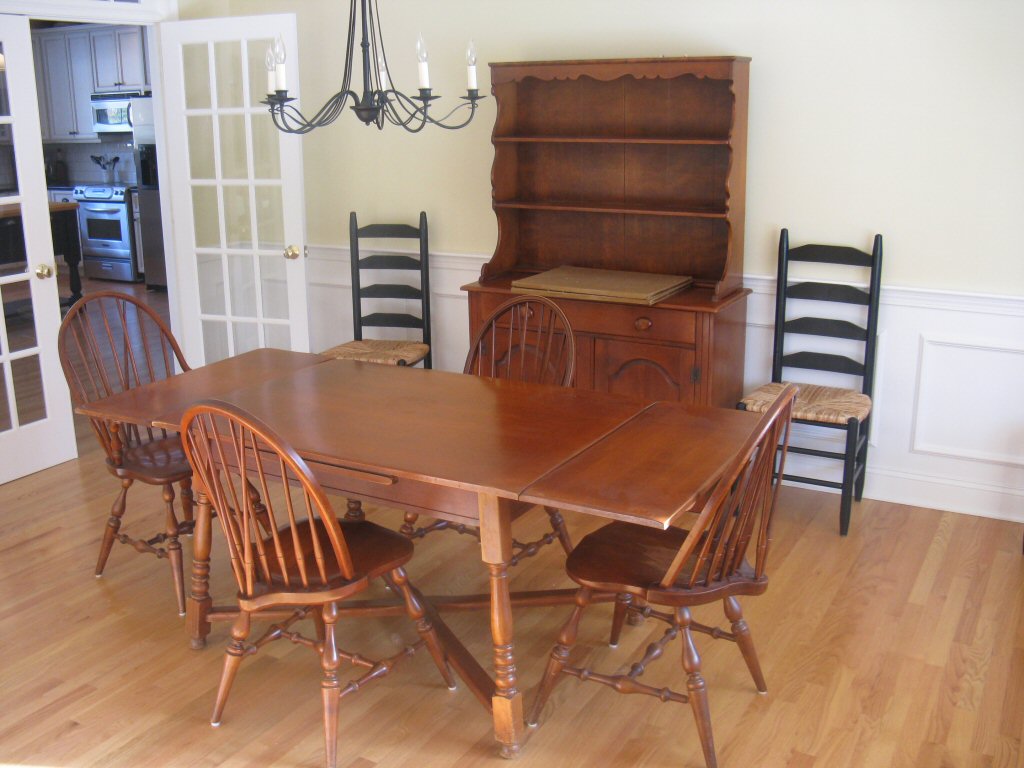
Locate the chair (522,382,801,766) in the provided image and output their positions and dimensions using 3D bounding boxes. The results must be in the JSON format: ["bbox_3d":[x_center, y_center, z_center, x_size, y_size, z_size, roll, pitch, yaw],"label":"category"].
[{"bbox_3d":[0.468,0.520,2.618,0.717,1.080,0.672,7,20,21],"label":"chair"}]

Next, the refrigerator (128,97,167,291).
[{"bbox_3d":[-3.847,-2.016,8.635,0.360,1.988,0.667,-9,21,-23],"label":"refrigerator"}]

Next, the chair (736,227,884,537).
[{"bbox_3d":[1.420,0.016,4.124,0.750,1.404,0.712,2,-11,9],"label":"chair"}]

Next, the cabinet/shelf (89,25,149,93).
[{"bbox_3d":[-4.141,-3.442,8.790,0.687,0.646,0.247,2,10,16],"label":"cabinet/shelf"}]

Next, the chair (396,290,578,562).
[{"bbox_3d":[-0.072,0.200,3.471,0.712,1.160,0.647,7,12,28],"label":"chair"}]

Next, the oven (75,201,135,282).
[{"bbox_3d":[-4.504,-1.693,9.252,0.660,0.951,0.685,2,16,-1],"label":"oven"}]

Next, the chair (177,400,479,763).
[{"bbox_3d":[-0.609,0.664,2.685,0.688,1.193,0.809,13,24,29],"label":"chair"}]

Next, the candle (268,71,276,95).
[{"bbox_3d":[-0.778,-0.977,2.666,0.022,0.074,0.039,-13,22,-30],"label":"candle"}]
